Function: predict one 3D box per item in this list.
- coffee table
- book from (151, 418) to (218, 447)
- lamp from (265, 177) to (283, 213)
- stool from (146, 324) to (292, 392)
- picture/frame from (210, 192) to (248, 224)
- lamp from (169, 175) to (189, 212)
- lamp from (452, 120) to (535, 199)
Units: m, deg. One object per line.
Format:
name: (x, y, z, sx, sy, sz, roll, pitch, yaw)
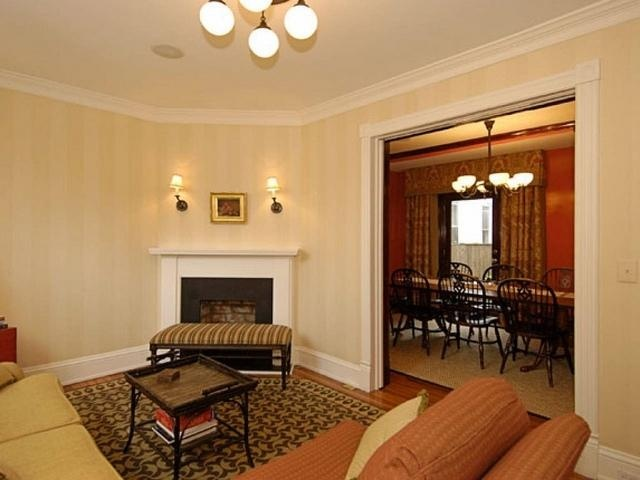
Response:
coffee table: (-1.065, 1.248, 3.996, 0.840, 0.739, 0.955, 4, -2, -36)
book: (-1.068, 1.602, 4.017, 0.316, 0.077, 0.324, -3, -9, 34)
lamp: (-0.537, -0.520, 5.720, 0.192, 0.434, 0.184, -1, 11, -6)
stool: (-1.045, 1.218, 5.373, 1.429, 0.628, 0.609, 2, 11, -7)
picture/frame: (-1.098, -0.380, 5.736, 0.370, 0.327, 0.038, 0, -1, -4)
lamp: (-1.650, -0.541, 5.660, 0.205, 0.435, 0.238, -3, 12, -16)
lamp: (2.435, -1.197, 6.858, 0.913, 1.180, 1.202, -2, 0, 8)
